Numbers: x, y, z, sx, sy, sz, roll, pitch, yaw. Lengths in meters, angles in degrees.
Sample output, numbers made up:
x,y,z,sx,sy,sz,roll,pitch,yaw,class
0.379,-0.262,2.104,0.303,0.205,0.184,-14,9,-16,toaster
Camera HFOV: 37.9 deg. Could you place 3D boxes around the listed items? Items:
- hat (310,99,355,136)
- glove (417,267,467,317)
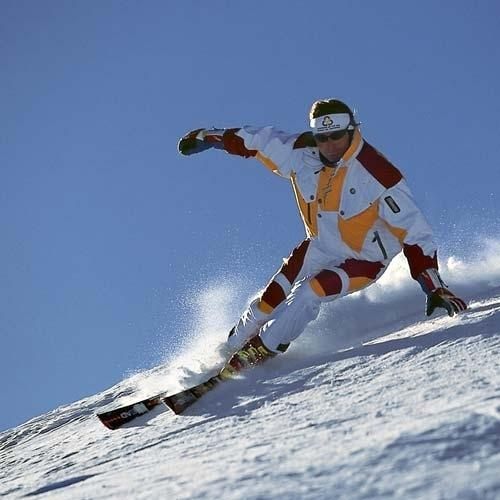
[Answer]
x,y,z,sx,sy,sz,roll,pitch,yaw,class
0.601,-1.010,5.552,0.310,0.291,0.173,-21,-4,6,hat
1.327,0.301,5.146,0.206,0.369,0.314,-19,-4,-28,glove
